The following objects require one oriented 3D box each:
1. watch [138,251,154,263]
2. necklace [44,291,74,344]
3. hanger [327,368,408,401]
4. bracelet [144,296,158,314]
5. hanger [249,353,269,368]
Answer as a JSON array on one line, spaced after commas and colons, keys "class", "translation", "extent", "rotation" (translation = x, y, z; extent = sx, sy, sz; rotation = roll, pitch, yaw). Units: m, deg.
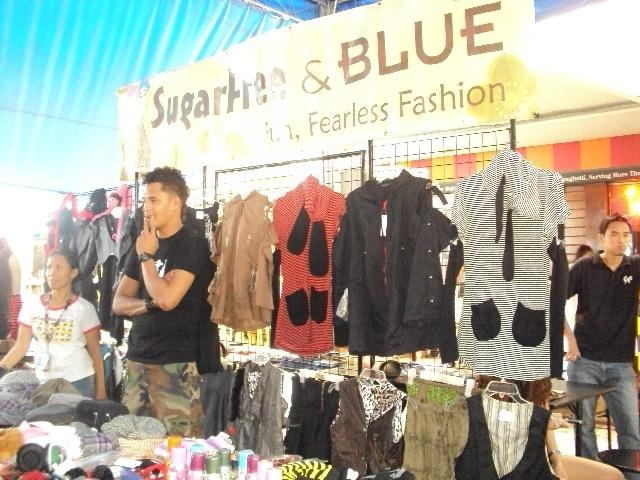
[{"class": "watch", "translation": [-1.121, 0.118, 3.406], "extent": [0.066, 0.050, 0.067], "rotation": [-2, -12, 9]}, {"class": "necklace", "translation": [-2.030, 0.622, 4.099], "extent": [0.203, 0.328, 0.077], "rotation": [1, -22, -6]}, {"class": "hanger", "translation": [0.376, 0.990, 3.710], "extent": [0.438, 0.191, 0.417], "rotation": [-1, -5, 11]}, {"class": "bracelet", "translation": [-1.079, 0.424, 3.363], "extent": [0.069, 0.080, 0.077], "rotation": [-4, 2, 5]}, {"class": "hanger", "translation": [-0.486, 0.983, 4.316], "extent": [0.127, 0.047, 0.136], "rotation": [1, -1, -13]}]
